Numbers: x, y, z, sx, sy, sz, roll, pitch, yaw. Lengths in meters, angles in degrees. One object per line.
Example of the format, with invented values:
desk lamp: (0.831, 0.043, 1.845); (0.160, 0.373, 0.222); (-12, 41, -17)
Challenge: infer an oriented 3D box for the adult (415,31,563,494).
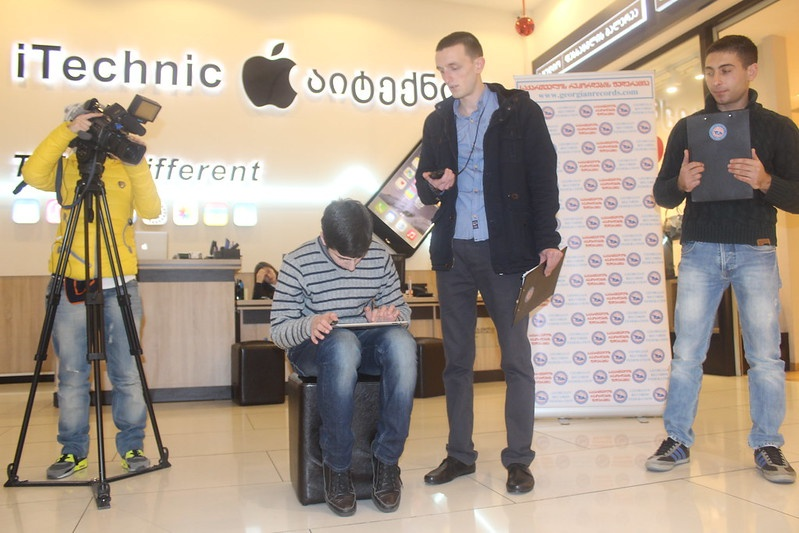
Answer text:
adult: (0.443, -0.020, 3.843); (0.938, 2.626, 0.830); (-1, -3, 28)

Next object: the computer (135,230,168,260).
computer: (-2.322, -0.195, 6.077); (0.360, 0.241, 0.251); (1, 2, -11)

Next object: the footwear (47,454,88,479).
footwear: (-2.031, 1.206, 3.961); (0.093, 0.110, 0.245); (-2, -9, 23)

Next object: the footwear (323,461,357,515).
footwear: (-0.328, 1.176, 3.499); (0.164, 0.254, 0.164); (-3, 7, -11)

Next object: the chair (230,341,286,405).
chair: (-1.305, 0.954, 6.062); (0.499, 0.670, 0.495); (0, -2, -21)

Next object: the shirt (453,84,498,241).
shirt: (0.450, -0.614, 3.905); (0.271, 0.884, 0.190); (-3, -2, 33)

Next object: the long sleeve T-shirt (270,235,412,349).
long sleeve T-shirt: (-0.403, 0.062, 3.799); (0.858, 0.699, 0.603); (-7, 24, -22)

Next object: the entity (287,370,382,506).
entity: (-0.322, 1.081, 3.720); (0.564, 0.419, 0.736); (6, 46, -14)

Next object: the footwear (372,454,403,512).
footwear: (-0.067, 1.164, 3.537); (0.108, 0.124, 0.318); (5, 22, -14)

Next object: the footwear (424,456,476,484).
footwear: (0.278, 1.189, 3.859); (0.345, 0.132, 0.116); (2, -5, -36)

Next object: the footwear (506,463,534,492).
footwear: (0.670, 1.182, 3.659); (0.149, 0.126, 0.138); (0, 7, 12)

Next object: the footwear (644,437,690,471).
footwear: (1.615, 1.108, 3.926); (0.389, 0.176, 0.136); (1, -3, -37)

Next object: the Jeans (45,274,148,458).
Jeans: (-1.882, 0.621, 4.062); (0.509, 1.177, 0.319); (0, -15, -25)

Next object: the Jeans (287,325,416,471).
Jeans: (-0.255, 0.692, 3.605); (0.649, 0.734, 0.352); (-3, 7, -12)
